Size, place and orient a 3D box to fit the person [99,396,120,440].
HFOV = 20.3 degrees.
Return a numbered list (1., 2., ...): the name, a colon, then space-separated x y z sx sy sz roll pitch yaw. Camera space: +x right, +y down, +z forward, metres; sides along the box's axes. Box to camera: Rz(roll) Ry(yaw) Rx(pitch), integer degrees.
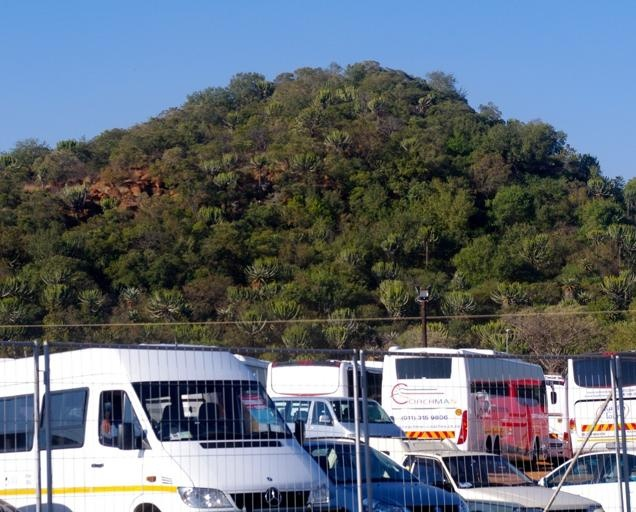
1. person: -12.279 9.698 105.265 1.086 2.546 0.551 0 -3 -3
